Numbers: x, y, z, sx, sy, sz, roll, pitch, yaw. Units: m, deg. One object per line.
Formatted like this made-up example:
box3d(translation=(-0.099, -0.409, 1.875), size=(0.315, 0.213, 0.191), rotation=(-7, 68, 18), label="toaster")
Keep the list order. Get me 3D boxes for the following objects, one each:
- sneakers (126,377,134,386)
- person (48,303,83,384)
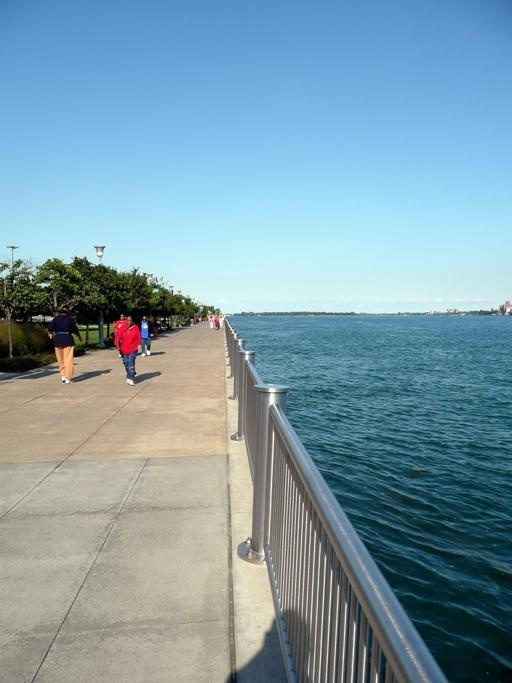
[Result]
box3d(translation=(-2.768, 0.890, 12.088), size=(0.074, 0.095, 0.211), rotation=(-1, 10, -31), label="sneakers")
box3d(translation=(-4.383, 0.071, 12.535), size=(0.586, 1.686, 1.207), rotation=(-1, 3, -18), label="person")
